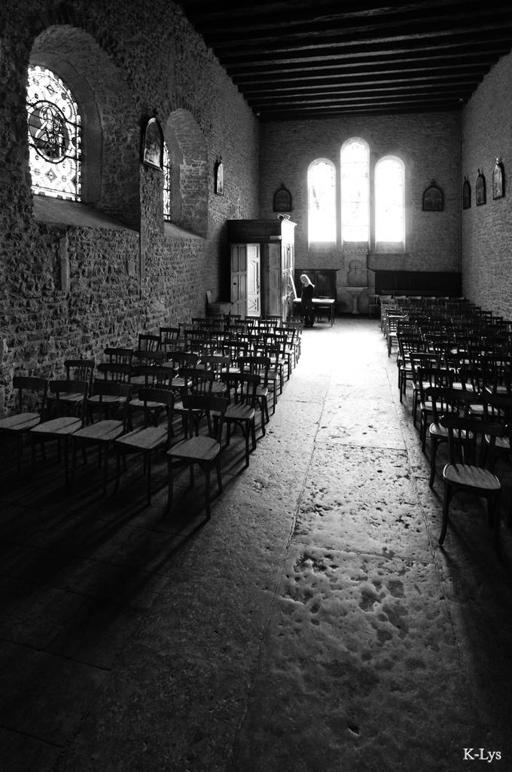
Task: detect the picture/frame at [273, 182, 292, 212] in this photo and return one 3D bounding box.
[{"bbox_3d":[1.033,-7.406,19.861,0.593,1.348,0.085,8,18,23],"label":"picture/frame"}]

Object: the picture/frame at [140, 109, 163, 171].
[{"bbox_3d":[-1.911,-4.447,9.448,0.059,0.897,0.854,8,12,13],"label":"picture/frame"}]

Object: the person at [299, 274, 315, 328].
[{"bbox_3d":[1.714,-2.813,16.870,0.420,1.741,1.144,1,7,5],"label":"person"}]
